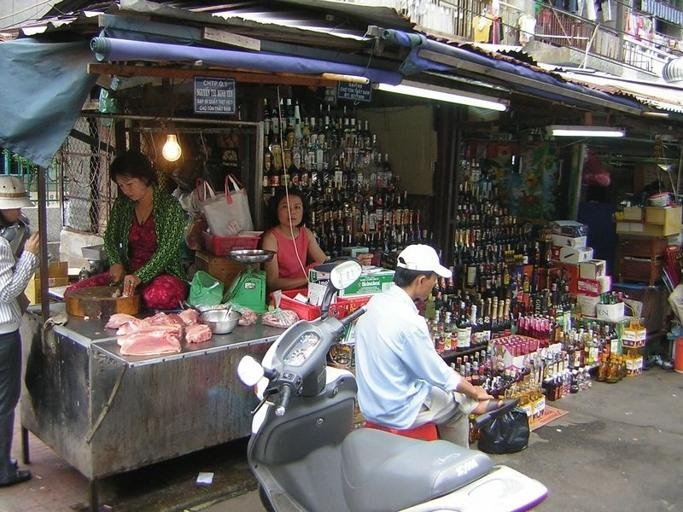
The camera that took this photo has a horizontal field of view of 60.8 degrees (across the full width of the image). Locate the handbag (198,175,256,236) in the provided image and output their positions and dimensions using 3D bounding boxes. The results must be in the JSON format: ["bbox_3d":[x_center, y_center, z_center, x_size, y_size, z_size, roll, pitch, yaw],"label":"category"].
[{"bbox_3d":[-1.134,-0.476,5.740,0.461,0.595,0.497,-10,17,-36],"label":"handbag"}]

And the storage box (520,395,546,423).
[{"bbox_3d":[1.976,1.594,6.063,0.200,0.246,0.361,1,5,42],"label":"storage box"}]

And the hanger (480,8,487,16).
[{"bbox_3d":[2.792,-4.747,11.487,0.133,0.185,0.280,5,11,12],"label":"hanger"}]

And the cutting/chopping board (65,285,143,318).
[{"bbox_3d":[-1.994,0.363,4.961,0.545,0.228,0.527,2,4,14],"label":"cutting/chopping board"}]
